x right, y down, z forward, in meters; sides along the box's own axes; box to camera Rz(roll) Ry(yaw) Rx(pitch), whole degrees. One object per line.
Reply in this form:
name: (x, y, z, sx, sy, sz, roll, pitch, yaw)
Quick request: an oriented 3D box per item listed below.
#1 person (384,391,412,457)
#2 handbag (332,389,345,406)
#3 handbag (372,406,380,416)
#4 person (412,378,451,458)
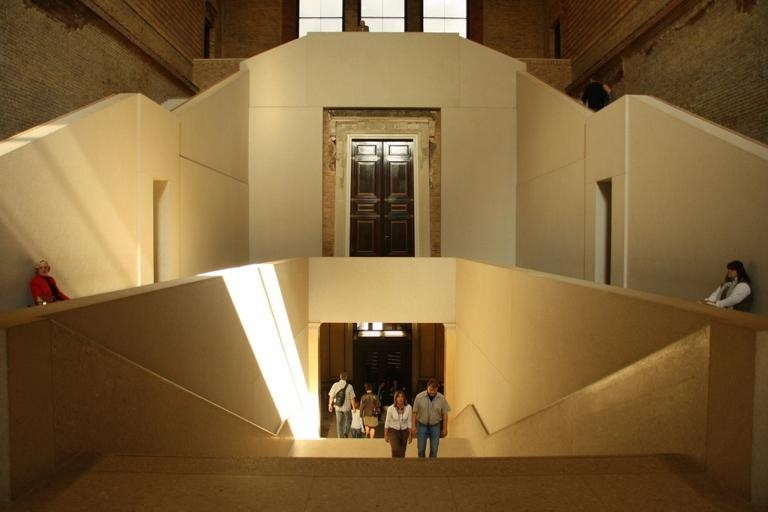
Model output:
person: (0.190, 2.129, 7.705, 0.327, 0.826, 0.932, 2, -19, 0)
handbag: (-0.731, 2.367, 9.965, 0.182, 0.281, 0.272, 0, -3, 7)
handbag: (-0.125, 2.600, 10.006, 0.137, 0.083, 0.199, 18, -4, 8)
person: (0.567, 1.968, 7.300, 0.432, 0.877, 0.550, -3, -19, 13)
